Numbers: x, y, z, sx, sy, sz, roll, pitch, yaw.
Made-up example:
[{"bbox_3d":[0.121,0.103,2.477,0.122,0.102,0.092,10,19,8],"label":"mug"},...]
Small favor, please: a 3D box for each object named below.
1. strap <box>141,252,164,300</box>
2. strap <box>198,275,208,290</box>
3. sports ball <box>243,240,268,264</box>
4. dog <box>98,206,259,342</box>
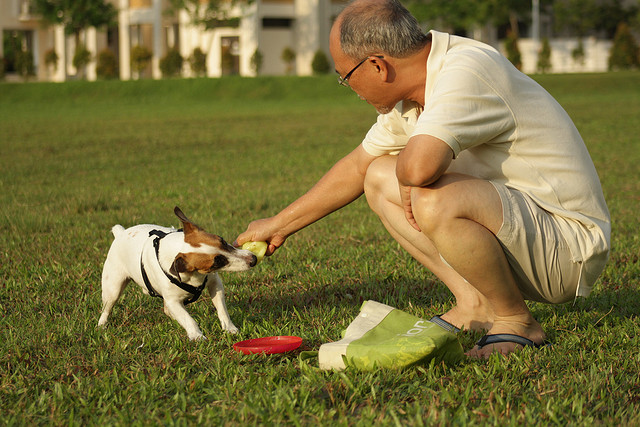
[{"bbox_3d":[-1.200,0.451,5.268,0.265,0.372,0.083,1,-5,-4],"label":"strap"},{"bbox_3d":[-0.842,0.530,5.271,0.022,0.081,0.075,29,-34,-5],"label":"strap"},{"bbox_3d":[-0.470,0.304,5.369,0.100,0.155,0.166,3,22,11],"label":"sports ball"},{"bbox_3d":[-1.129,0.449,5.429,1.261,0.907,0.621,7,19,33],"label":"dog"}]
